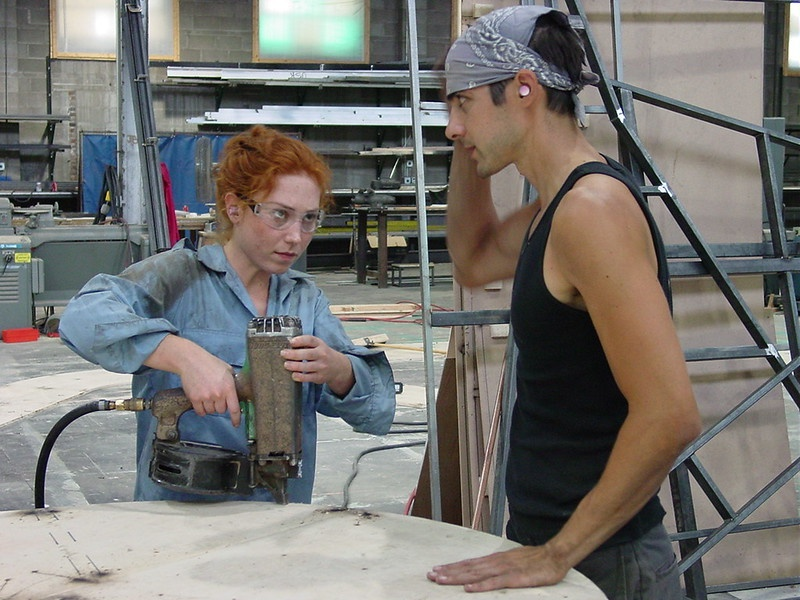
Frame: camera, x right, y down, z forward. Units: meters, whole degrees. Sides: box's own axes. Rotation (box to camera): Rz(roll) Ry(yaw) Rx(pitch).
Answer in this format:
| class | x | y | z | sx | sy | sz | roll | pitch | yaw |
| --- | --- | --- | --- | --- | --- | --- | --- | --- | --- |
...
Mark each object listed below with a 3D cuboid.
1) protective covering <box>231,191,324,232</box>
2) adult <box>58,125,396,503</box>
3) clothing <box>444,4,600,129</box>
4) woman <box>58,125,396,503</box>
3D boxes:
| class | x | y | z | sx | sy | sz | roll | pitch | yaw |
| --- | --- | --- | --- | --- | --- | --- | --- | --- | --- |
| protective covering | -0.445 | -0.325 | 4.745 | 0.168 | 0.058 | 0.204 | 4 | 11 | -45 |
| adult | -0.654 | 0.070 | 4.782 | 1.266 | 1.495 | 0.519 | 0 | 3 | -1 |
| clothing | 0.403 | -0.820 | 4.294 | 0.552 | 0.397 | 0.386 | 4 | 8 | 9 |
| woman | -0.636 | 0.290 | 4.792 | 1.321 | 1.796 | 1.103 | 3 | -7 | -33 |
